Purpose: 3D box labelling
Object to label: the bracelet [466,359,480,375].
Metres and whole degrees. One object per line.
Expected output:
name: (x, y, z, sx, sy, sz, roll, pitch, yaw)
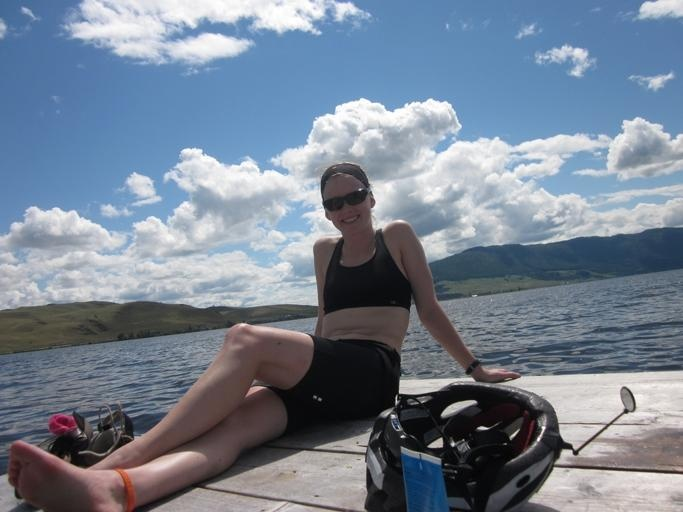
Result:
bracelet: (1.031, 0.865, 3.450, 0.102, 0.060, 0.096, -28, -19, 1)
